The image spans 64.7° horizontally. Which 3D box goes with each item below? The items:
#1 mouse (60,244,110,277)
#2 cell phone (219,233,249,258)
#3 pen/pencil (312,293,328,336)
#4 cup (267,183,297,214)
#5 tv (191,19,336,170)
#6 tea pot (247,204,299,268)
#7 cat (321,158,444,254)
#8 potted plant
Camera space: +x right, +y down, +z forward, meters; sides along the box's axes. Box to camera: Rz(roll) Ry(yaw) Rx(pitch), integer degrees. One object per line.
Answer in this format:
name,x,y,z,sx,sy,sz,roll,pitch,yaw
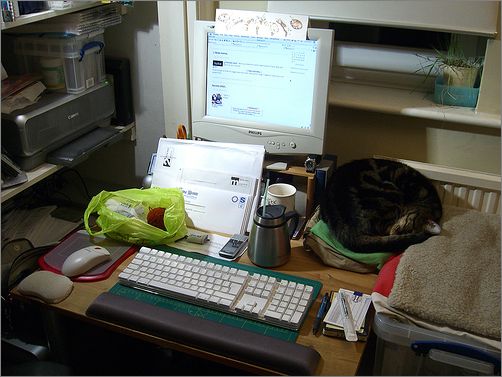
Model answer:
mouse,-0.485,0.211,1.155,0.060,0.040,0.119,22,38,27
cell phone,-0.052,0.183,1.254,0.054,0.025,0.112,14,37,26
pen/pencil,0.183,0.330,1.035,0.021,0.021,0.184,-5,31,24
cup,0.101,0.023,1.350,0.090,0.093,0.096,0,37,0
tv,0.043,-0.368,1.442,0.480,0.459,0.261,9,19,15
tea pot,0.068,0.136,1.210,0.168,0.162,0.137,1,24,-1
cat,0.407,0.046,1.280,0.359,0.162,0.362,2,38,6
potted plant,0.777,-0.461,1.498,0.234,0.254,0.267,13,18,24
